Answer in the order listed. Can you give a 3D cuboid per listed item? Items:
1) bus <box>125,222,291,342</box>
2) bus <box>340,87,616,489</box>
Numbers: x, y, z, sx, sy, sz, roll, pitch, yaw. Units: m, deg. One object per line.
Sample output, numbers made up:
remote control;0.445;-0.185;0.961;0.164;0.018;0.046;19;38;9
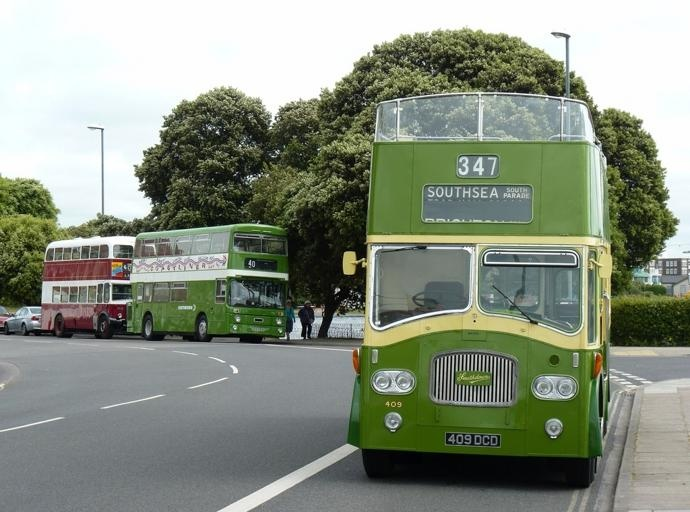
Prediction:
bus;-8.551;1.736;39.164;12.501;6.412;3.225;-4;-5;41
bus;1.967;0.368;9.472;3.147;5.113;6.767;-1;-3;14
